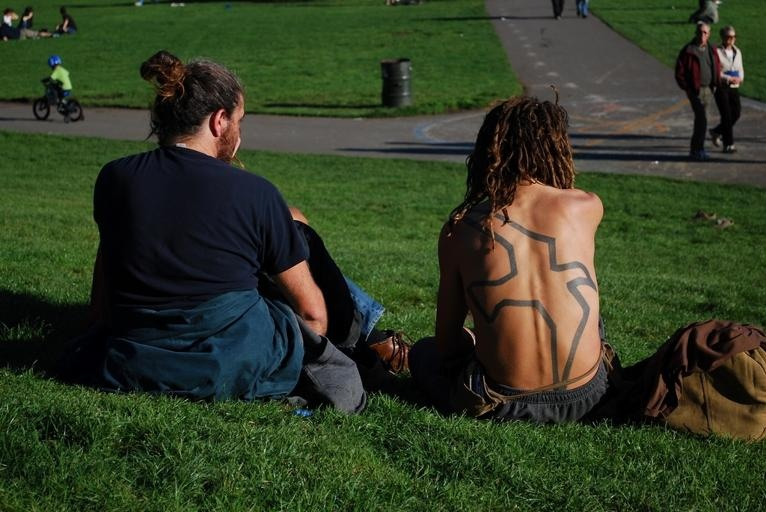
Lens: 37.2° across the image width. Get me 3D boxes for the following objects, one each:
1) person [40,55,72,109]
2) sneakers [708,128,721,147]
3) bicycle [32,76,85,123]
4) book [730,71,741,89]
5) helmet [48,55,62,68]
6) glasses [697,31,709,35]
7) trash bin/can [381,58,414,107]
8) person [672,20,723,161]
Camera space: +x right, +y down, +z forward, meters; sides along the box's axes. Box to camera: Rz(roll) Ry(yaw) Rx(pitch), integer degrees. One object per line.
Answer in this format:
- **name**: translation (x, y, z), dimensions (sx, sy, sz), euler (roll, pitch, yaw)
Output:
- **person**: translation (-7.862, -4.399, 28.229), dimensions (0.530, 1.131, 2.069), euler (-2, 13, -16)
- **sneakers**: translation (7.560, -2.698, 26.021), dimensions (0.190, 0.454, 0.192), euler (-10, 31, 31)
- **bicycle**: translation (-7.887, -3.805, 28.082), dimensions (1.288, 0.882, 0.656), euler (3, 18, -9)
- **book**: translation (7.449, -3.751, 24.262), dimensions (0.247, 0.373, 0.129), euler (-5, -10, 3)
- **helmet**: translation (-7.867, -4.757, 27.776), dimensions (0.344, 0.462, 0.460), euler (-5, 15, -18)
- **glasses**: translation (6.648, -4.631, 23.621), dimensions (0.233, 0.064, 0.099), euler (-4, 14, -29)
- **trash bin/can**: translation (0.439, -4.645, 30.595), dimensions (1.055, 1.661, 1.096), euler (-3, 15, 0)
- **person**: translation (6.708, -3.613, 24.377), dimensions (0.880, 2.728, 1.556), euler (5, 12, 15)
